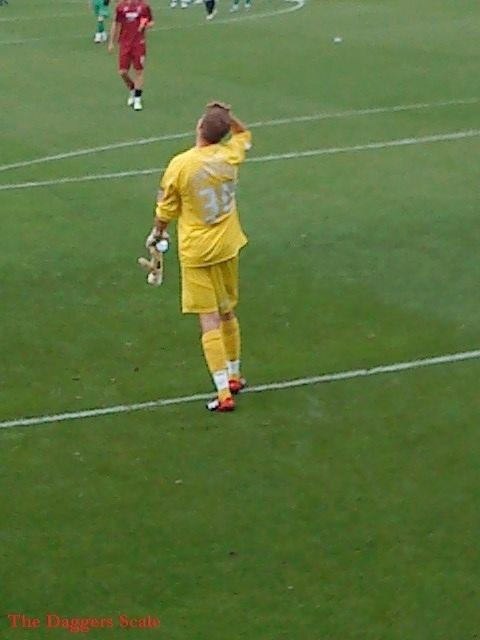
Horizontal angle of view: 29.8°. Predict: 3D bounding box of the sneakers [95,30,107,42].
[{"bbox_3d":[-1.717,-3.500,11.141,0.095,0.096,0.241,3,28,-2],"label":"sneakers"}]
